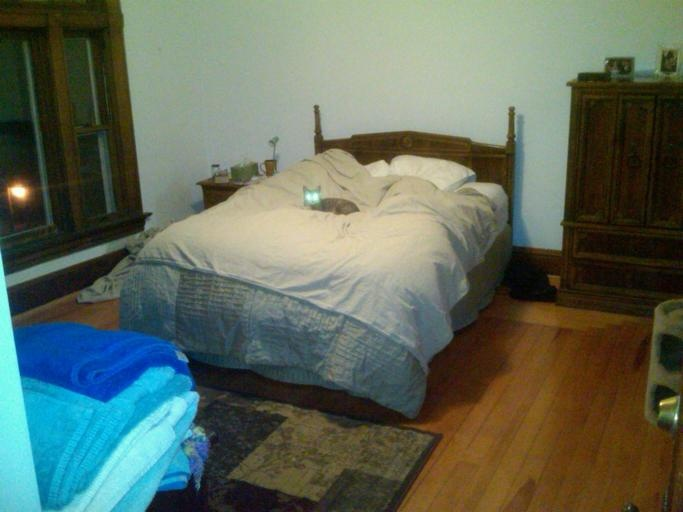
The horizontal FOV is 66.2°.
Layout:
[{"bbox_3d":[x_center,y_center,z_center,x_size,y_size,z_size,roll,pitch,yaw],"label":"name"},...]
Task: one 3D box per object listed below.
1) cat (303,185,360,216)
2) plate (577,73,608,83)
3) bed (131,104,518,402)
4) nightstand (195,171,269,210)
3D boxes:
[{"bbox_3d":[-0.070,-0.427,3.771,0.332,0.241,0.221,16,32,17],"label":"cat"},{"bbox_3d":[1.822,-1.286,3.767,0.210,0.059,0.085,4,19,20],"label":"plate"},{"bbox_3d":[0.073,-0.077,3.726,1.932,1.320,2.627,10,21,35],"label":"bed"},{"bbox_3d":[-1.156,-0.652,5.204,0.506,0.497,0.382,1,21,4],"label":"nightstand"}]
